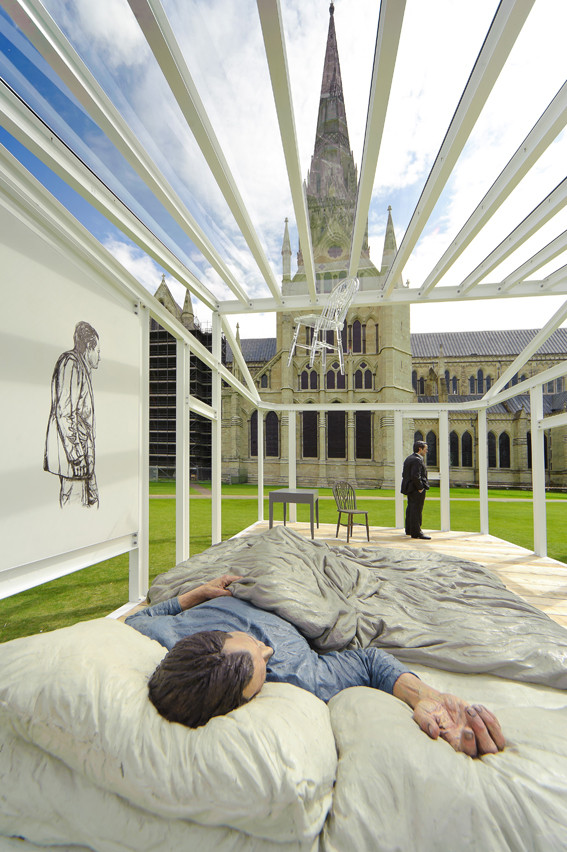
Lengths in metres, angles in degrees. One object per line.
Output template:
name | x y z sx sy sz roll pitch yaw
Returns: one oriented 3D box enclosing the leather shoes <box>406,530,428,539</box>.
leather shoes | 2.295 1.837 8.196 0.393 0.182 0.150 -2 -6 14
